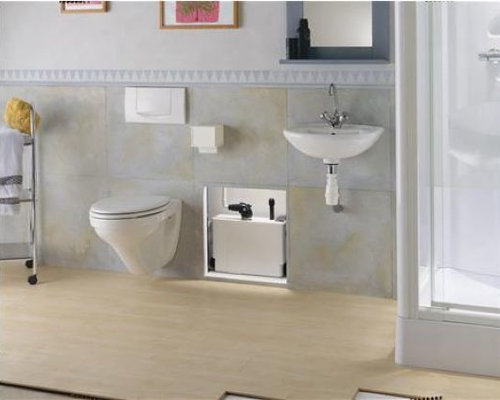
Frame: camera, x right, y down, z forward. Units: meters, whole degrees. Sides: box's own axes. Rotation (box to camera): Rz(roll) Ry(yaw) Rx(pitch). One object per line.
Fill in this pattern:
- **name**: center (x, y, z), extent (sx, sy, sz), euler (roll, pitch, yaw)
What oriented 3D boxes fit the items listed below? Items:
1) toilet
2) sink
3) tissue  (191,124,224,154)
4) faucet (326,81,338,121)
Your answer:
- **toilet**: center (-0.635, 0.219, 3.123), extent (0.435, 0.384, 0.553), euler (4, 15, 19)
- **sink**: center (0.450, -0.316, 2.756), extent (0.521, 0.158, 0.426), euler (2, 14, 10)
- **tissue **: center (-0.268, -0.378, 3.146), extent (0.177, 0.169, 0.175), euler (3, 13, 12)
- **faucet**: center (0.472, -0.553, 2.892), extent (0.064, 0.210, 0.143), euler (1, 13, 9)
